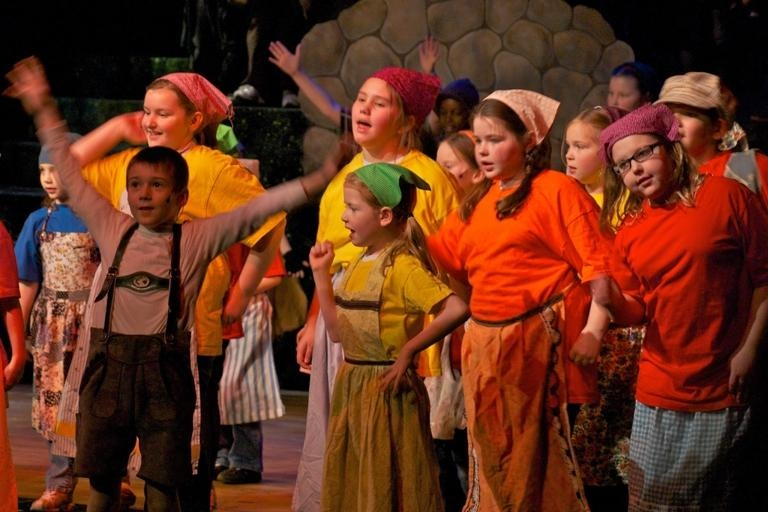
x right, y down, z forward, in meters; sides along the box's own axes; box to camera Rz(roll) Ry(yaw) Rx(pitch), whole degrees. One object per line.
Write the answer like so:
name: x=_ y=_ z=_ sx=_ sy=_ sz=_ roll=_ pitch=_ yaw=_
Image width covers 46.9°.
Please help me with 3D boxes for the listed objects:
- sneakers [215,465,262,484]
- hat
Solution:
sneakers: x=-0.801 y=1.214 z=4.895 sx=0.244 sy=0.094 sz=0.095 roll=7 pitch=-4 yaw=-9
hat: x=1.338 y=-0.678 z=3.788 sx=0.351 sy=0.253 sz=0.177 roll=2 pitch=-2 yaw=7
